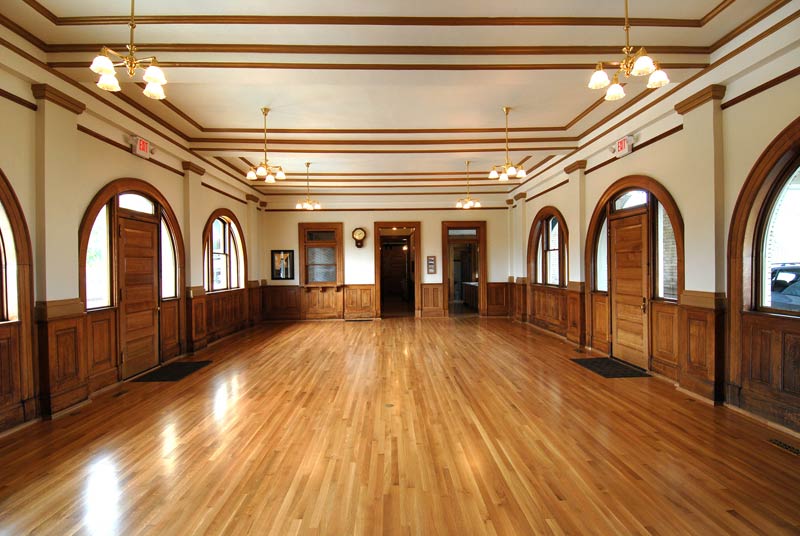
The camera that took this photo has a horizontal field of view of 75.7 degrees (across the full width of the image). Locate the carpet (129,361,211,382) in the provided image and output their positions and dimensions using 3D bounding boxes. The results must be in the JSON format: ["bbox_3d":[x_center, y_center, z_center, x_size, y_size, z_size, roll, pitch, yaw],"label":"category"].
[{"bbox_3d":[-3.730,1.703,8.512,0.801,0.135,1.087,-1,1,8],"label":"carpet"}]

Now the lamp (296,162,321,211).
[{"bbox_3d":[-2.160,-1.930,12.032,0.753,1.199,0.786,0,-5,-1],"label":"lamp"}]

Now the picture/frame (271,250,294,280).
[{"bbox_3d":[-3.023,-0.075,13.335,0.711,0.917,0.090,0,-2,-4],"label":"picture/frame"}]

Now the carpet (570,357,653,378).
[{"bbox_3d":[3.433,1.635,8.455,0.849,0.134,1.071,-1,1,-9],"label":"carpet"}]

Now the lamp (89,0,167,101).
[{"bbox_3d":[-3.254,-2.573,6.207,0.706,1.247,1.463,-1,1,-26],"label":"lamp"}]

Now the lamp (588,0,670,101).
[{"bbox_3d":[2.879,-2.590,6.412,0.778,1.261,1.699,0,1,27],"label":"lamp"}]
